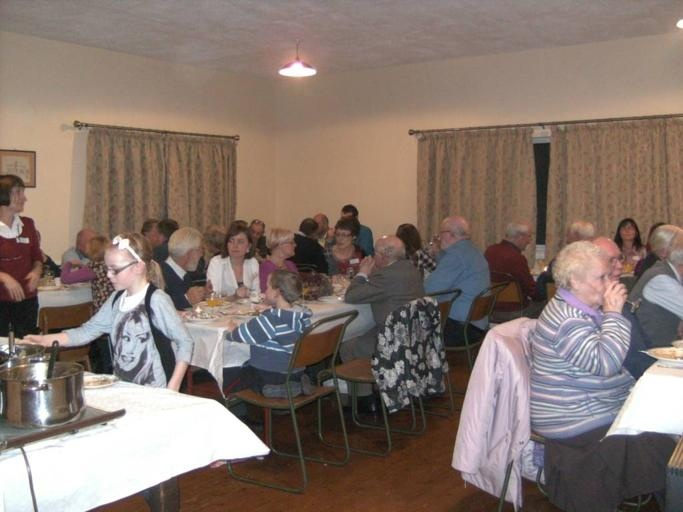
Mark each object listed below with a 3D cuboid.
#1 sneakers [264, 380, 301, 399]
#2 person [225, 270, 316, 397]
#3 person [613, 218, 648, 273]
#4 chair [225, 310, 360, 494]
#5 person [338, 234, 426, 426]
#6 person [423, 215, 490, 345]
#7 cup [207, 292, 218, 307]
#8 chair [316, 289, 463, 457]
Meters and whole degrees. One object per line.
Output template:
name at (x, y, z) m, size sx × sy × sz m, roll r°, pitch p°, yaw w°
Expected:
sneakers at (-0.323, 0.728, 3.199) m, size 0.156 × 0.046 × 0.101 m, roll 4°, pitch 5°, yaw -3°
person at (-0.406, 0.514, 3.450) m, size 0.471 × 0.851 × 0.393 m, roll 6°, pitch 13°, yaw -6°
person at (2.971, 0.054, 6.173) m, size 0.319 × 0.805 × 0.283 m, roll 7°, pitch -20°, yaw 13°
chair at (-0.272, 0.790, 3.373) m, size 0.640 × 0.934 × 0.564 m, roll 0°, pitch 3°, yaw 21°
person at (0.247, 0.472, 4.293) m, size 0.726 × 1.266 × 0.458 m, roll 2°, pitch 17°, yaw 27°
person at (0.865, 0.169, 4.707) m, size 0.582 × 0.956 × 0.632 m, roll -8°, pitch 11°, yaw -27°
cup at (-0.867, 0.306, 4.005) m, size 0.074 × 0.112 × 0.072 m, roll -1°, pitch -14°, yaw 0°
chair at (0.328, 0.741, 4.067) m, size 0.896 × 1.164 × 0.917 m, roll 2°, pitch 2°, yaw 34°
